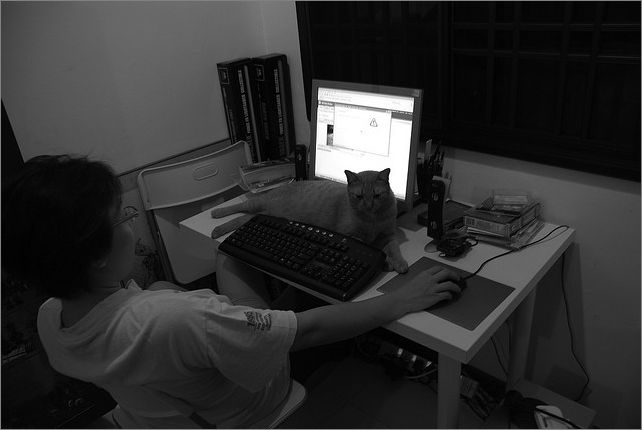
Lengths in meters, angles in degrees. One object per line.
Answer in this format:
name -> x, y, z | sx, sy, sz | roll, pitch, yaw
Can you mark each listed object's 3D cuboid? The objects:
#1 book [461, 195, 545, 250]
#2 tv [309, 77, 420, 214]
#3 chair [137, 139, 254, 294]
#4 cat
book -> 0.761, 0.013, 1.879 | 0.235, 0.077, 0.231 | -30, 32, -35
tv -> 0.197, -0.293, 1.994 | 0.510, 0.510, 0.181 | 15, 25, 31
chair -> -0.631, 0.001, 2.296 | 0.549, 0.619, 0.357 | -29, 38, -29
cat -> -0.037, -0.046, 2.035 | 0.832, 0.360, 0.379 | 11, 44, 16
